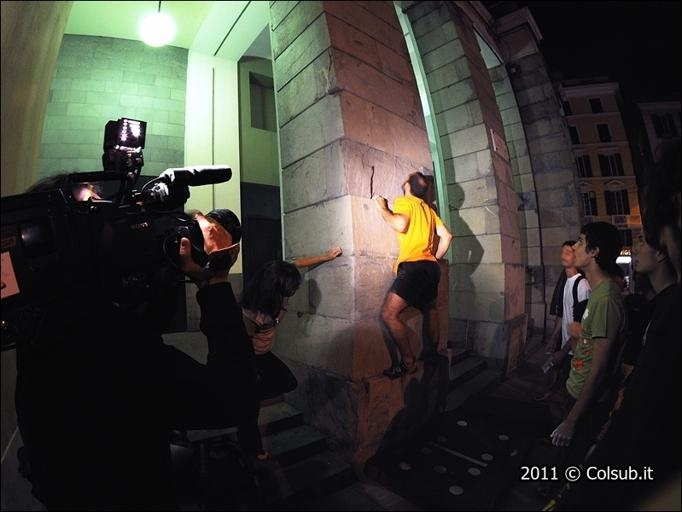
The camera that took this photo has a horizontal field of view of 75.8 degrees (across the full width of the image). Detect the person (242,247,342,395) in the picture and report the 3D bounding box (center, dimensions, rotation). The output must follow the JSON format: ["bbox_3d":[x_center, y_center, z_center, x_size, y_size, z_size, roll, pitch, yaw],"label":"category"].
[{"bbox_3d":[-0.461,0.686,4.425,0.586,1.360,0.846,15,29,-15],"label":"person"}]

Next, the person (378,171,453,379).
[{"bbox_3d":[0.738,0.145,4.643,0.790,2.112,0.338,-2,0,-18],"label":"person"}]

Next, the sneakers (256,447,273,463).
[{"bbox_3d":[-0.702,1.831,4.053,0.124,0.124,0.049,-37,-2,-44],"label":"sneakers"}]
